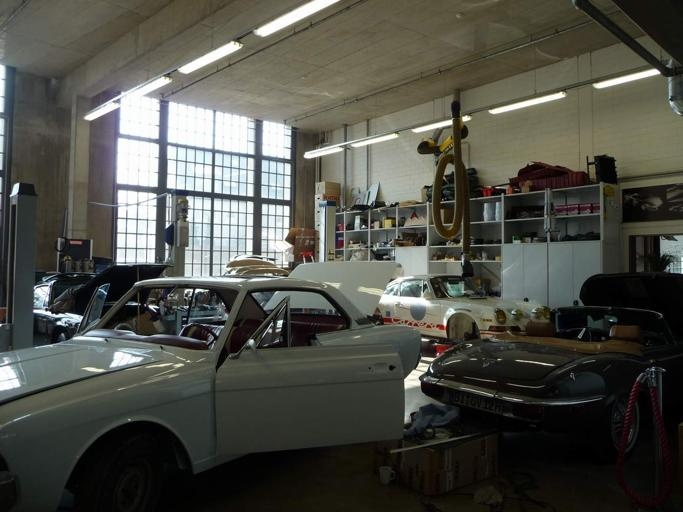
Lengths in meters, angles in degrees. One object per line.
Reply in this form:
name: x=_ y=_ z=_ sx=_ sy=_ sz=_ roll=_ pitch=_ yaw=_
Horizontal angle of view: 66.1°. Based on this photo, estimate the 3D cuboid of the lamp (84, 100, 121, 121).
lamp: x=-5.430 y=-3.283 z=11.822 sx=1.602 sy=0.213 sz=0.126 roll=6 pitch=-14 yaw=38

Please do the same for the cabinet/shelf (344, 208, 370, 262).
cabinet/shelf: x=0.382 y=-0.553 z=14.193 sx=0.667 sy=1.318 sz=1.091 roll=1 pitch=11 yaw=-1

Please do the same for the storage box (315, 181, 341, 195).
storage box: x=-0.449 y=-1.996 z=15.588 sx=0.532 sy=0.283 sz=0.511 roll=-1 pitch=3 yaw=-40

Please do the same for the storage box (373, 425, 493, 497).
storage box: x=0.789 y=1.509 z=4.033 sx=0.584 sy=0.183 sz=0.545 roll=-1 pitch=0 yaw=-25

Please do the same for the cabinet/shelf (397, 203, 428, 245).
cabinet/shelf: x=1.726 y=-0.773 z=12.940 sx=0.722 sy=1.032 sz=0.940 roll=2 pitch=11 yaw=5

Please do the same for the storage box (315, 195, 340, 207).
storage box: x=-0.374 y=-1.569 z=14.941 sx=0.515 sy=0.308 sz=0.269 roll=4 pitch=-7 yaw=-41

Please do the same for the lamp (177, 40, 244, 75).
lamp: x=-2.462 y=-3.756 z=9.856 sx=1.109 sy=0.101 sz=0.194 roll=-10 pitch=-27 yaw=38

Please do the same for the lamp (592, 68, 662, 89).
lamp: x=5.177 y=-3.154 z=9.420 sx=0.943 sy=0.225 sz=1.172 roll=10 pitch=14 yaw=40

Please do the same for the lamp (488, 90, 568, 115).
lamp: x=3.869 y=-3.122 z=10.788 sx=1.455 sy=0.292 sz=1.557 roll=6 pitch=12 yaw=27

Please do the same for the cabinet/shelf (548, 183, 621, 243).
cabinet/shelf: x=4.630 y=-0.822 z=9.930 sx=0.673 sy=1.022 sz=1.174 roll=6 pitch=-8 yaw=-40

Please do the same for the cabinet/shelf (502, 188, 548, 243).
cabinet/shelf: x=3.735 y=-0.853 z=10.733 sx=0.656 sy=1.011 sz=1.176 roll=10 pitch=-10 yaw=-42

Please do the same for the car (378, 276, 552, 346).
car: x=1.793 y=0.833 z=8.558 sx=2.213 sy=0.631 sz=1.301 roll=-2 pitch=-3 yaw=45

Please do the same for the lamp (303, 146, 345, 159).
lamp: x=-0.503 y=-2.928 z=15.003 sx=1.143 sy=0.362 sz=3.270 roll=0 pitch=11 yaw=-4

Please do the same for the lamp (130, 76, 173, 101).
lamp: x=-4.168 y=-3.686 z=11.476 sx=1.094 sy=0.074 sz=0.171 roll=-2 pitch=-20 yaw=41
